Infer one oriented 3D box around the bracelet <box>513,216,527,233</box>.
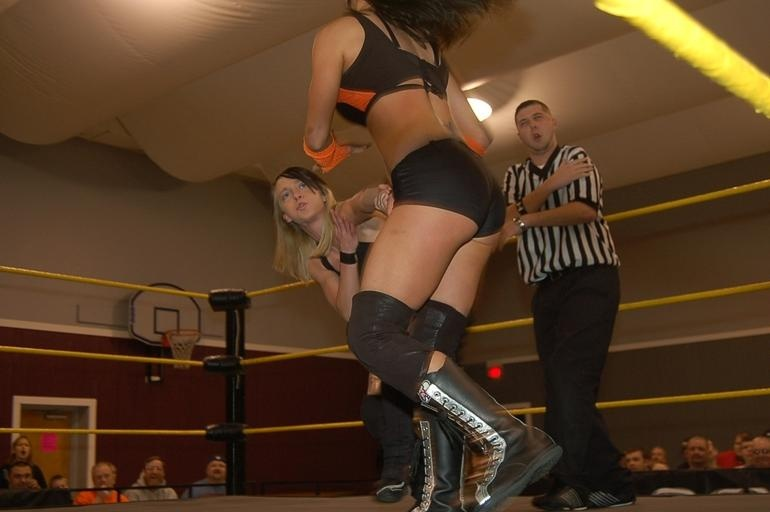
[{"bbox_3d":[0.888,-0.203,4.635,0.103,0.067,0.100,39,-4,-21],"label":"bracelet"}]
